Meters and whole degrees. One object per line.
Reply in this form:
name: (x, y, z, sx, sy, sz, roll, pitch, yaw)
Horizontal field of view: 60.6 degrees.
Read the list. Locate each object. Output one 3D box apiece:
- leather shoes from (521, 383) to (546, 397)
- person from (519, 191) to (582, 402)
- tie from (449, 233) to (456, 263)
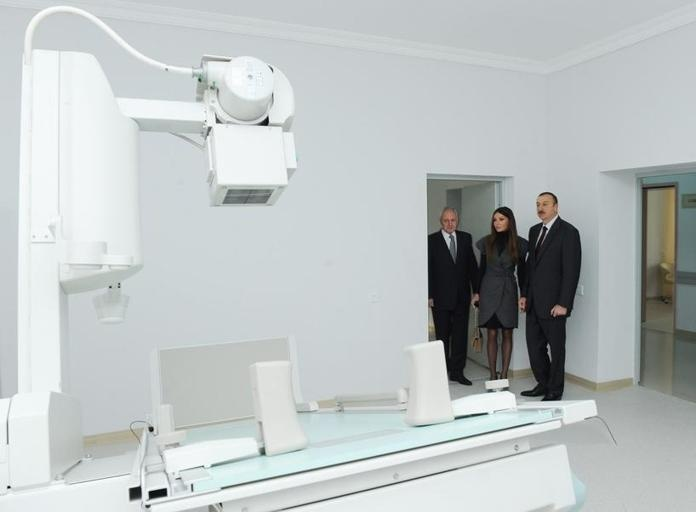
leather shoes: (1.702, 1.220, 5.436, 0.270, 0.121, 0.095, -3, 0, 9)
person: (1.761, 0.356, 5.326, 0.530, 1.826, 0.446, 8, 14, 40)
tie: (1.011, -0.077, 5.721, 0.069, 0.249, 0.076, -7, 12, -30)
